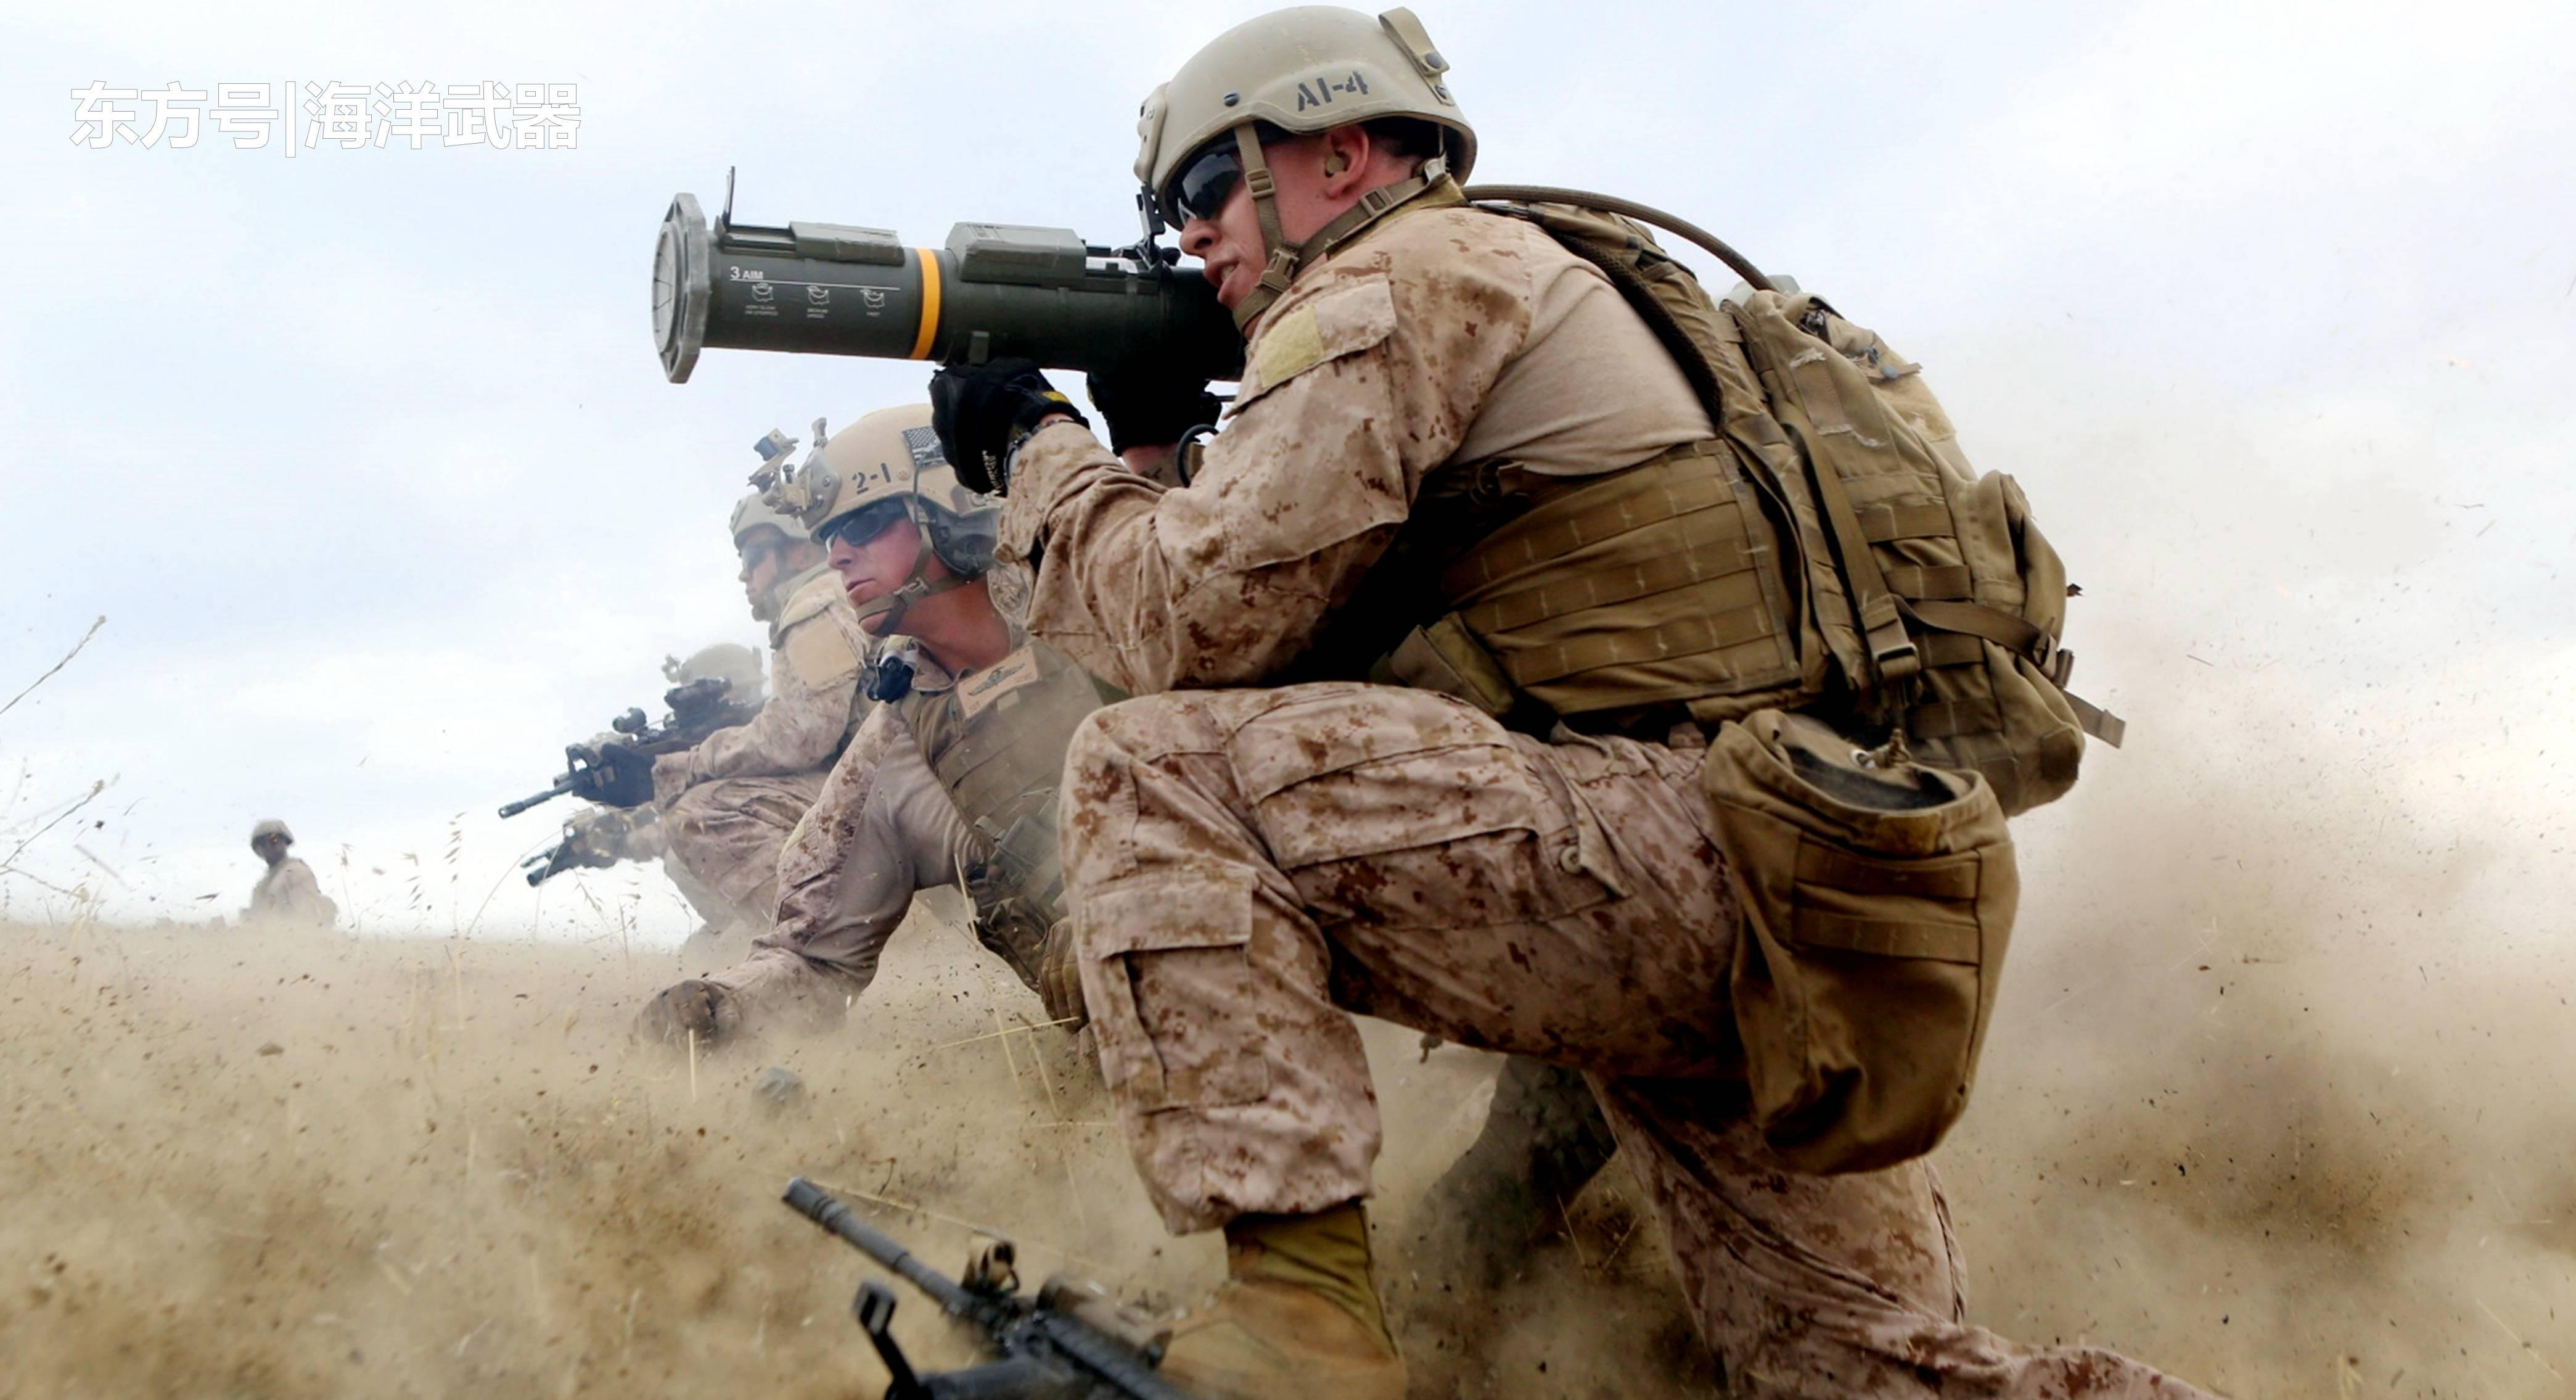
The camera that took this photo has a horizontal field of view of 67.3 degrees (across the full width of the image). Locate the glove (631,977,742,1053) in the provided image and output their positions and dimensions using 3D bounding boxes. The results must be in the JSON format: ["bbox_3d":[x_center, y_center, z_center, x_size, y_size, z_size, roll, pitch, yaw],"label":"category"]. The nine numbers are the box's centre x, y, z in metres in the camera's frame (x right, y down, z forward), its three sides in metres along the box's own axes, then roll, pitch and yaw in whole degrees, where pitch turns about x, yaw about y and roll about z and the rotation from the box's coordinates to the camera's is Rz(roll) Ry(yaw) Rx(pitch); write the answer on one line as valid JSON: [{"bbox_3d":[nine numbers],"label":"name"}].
[{"bbox_3d":[-2.223,1.162,7.173,0.303,0.112,0.226,13,31,5],"label":"glove"}]

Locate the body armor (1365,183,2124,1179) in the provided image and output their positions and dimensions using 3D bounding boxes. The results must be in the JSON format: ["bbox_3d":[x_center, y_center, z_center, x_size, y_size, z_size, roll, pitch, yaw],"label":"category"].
[{"bbox_3d":[1.012,0.078,5.513,2.253,1.870,2.799,3,54,-11],"label":"body armor"}]
